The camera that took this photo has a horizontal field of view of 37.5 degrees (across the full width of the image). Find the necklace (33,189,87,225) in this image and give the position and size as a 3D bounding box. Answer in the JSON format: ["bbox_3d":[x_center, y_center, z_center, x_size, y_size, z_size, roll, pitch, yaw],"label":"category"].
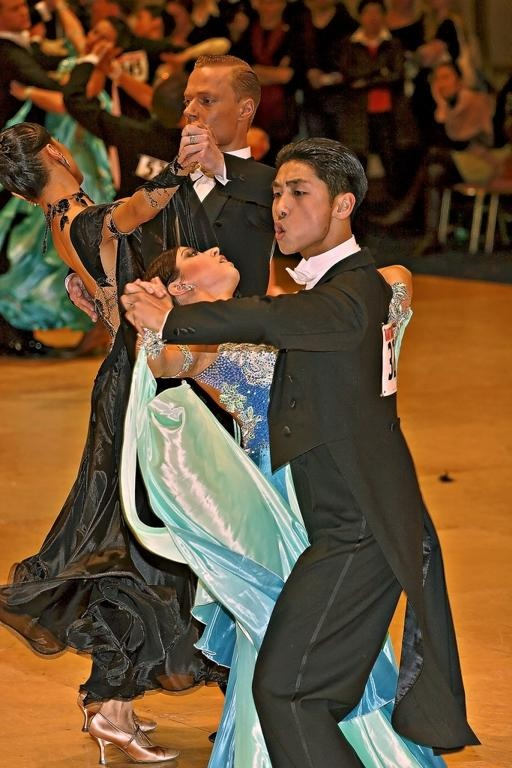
[{"bbox_3d":[-0.534,-0.493,2.114,0.139,0.067,0.097,-24,3,-19],"label":"necklace"}]

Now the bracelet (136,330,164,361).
[{"bbox_3d":[-0.195,-0.070,1.372,0.021,0.051,0.050,-40,-3,-22],"label":"bracelet"}]
